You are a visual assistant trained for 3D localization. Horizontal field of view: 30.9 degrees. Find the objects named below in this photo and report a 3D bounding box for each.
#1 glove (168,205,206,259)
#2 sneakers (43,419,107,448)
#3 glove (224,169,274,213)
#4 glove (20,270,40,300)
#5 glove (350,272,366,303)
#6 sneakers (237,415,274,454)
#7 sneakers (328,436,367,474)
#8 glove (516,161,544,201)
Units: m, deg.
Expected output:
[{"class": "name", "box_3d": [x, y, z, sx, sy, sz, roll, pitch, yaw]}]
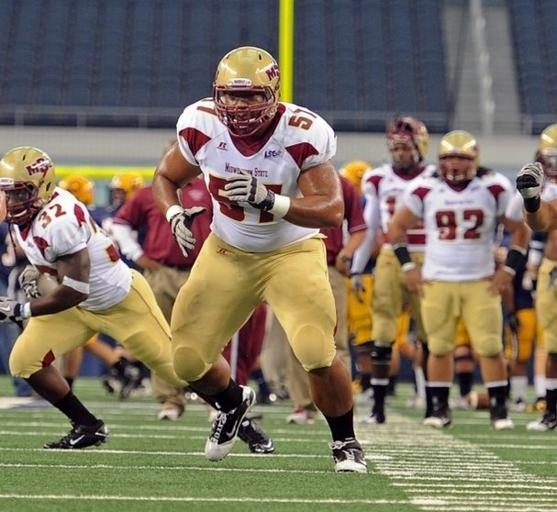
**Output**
[{"class": "glove", "box_3d": [-0.363, -0.104, 3.957, 0.139, 0.204, 0.339, -1, 1, -10]}, {"class": "sneakers", "box_3d": [-0.944, 0.819, 4.625, 0.346, 0.145, 0.110, 0, -6, -2]}, {"class": "glove", "box_3d": [-0.120, -0.230, 3.826, 0.219, 0.071, 0.118, 14, 30, -8]}, {"class": "glove", "box_3d": [-1.130, 0.133, 4.669, 0.067, 0.099, 0.134, 16, 25, -28]}, {"class": "glove", "box_3d": [0.540, 0.240, 6.818, 0.081, 0.252, 0.110, -8, 11, 4]}, {"class": "sneakers", "box_3d": [-0.091, 0.771, 4.409, 0.114, 0.231, 0.089, 3, 48, 18]}, {"class": "sneakers", "box_3d": [0.288, 0.838, 4.196, 0.159, 0.149, 0.425, -3, -8, -2]}, {"class": "glove", "box_3d": [1.275, -0.372, 5.093, 0.157, 0.176, 0.214, -3, -6, 25]}]
